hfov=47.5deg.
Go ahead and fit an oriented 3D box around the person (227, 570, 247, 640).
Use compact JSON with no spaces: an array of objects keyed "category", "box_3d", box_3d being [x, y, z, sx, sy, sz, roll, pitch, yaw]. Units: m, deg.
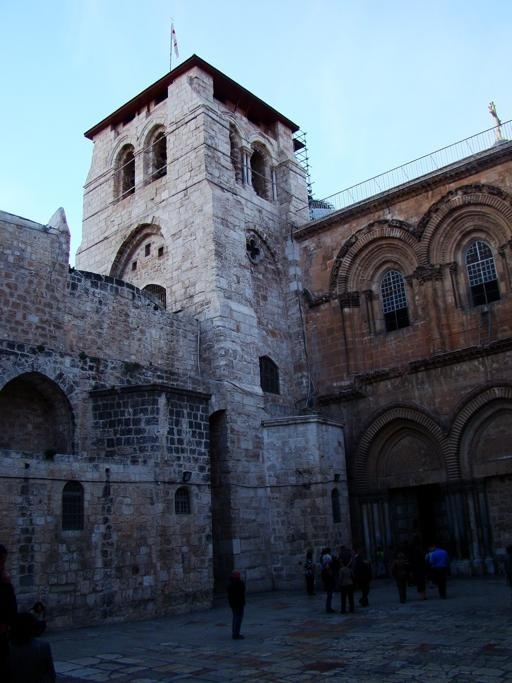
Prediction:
[{"category":"person","box_3d":[-0.311,4.274,9.434,0.270,1.000,0.357,-5,-13,-5]}]
